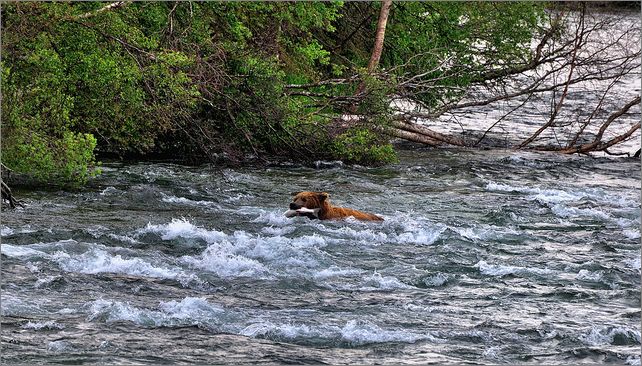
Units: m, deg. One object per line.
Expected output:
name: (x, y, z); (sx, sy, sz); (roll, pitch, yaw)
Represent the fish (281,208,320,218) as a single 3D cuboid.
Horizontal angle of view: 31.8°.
fish: (-0.573, 0.948, 35.741); (1.337, 0.431, 0.186); (2, -19, 1)
